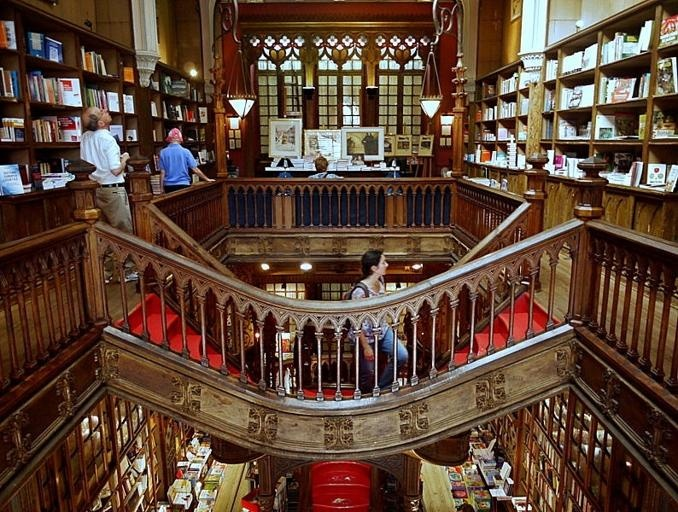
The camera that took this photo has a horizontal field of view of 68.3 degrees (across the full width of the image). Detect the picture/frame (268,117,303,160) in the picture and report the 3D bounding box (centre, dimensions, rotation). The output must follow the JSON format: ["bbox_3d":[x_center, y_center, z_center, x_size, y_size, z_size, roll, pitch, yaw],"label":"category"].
[{"bbox_3d":[-1.092,-2.395,10.046,0.662,1.166,0.642,-2,-54,2],"label":"picture/frame"}]

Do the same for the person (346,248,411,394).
[{"bbox_3d":[0.325,0.664,4.324,0.503,0.439,1.492,7,-69,34],"label":"person"}]

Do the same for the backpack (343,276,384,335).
[{"bbox_3d":[0.255,0.352,4.346,0.330,0.272,0.456,-17,-20,17],"label":"backpack"}]

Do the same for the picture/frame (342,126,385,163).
[{"bbox_3d":[0.411,-1.936,8.724,0.721,0.078,0.700,0,-82,-1],"label":"picture/frame"}]

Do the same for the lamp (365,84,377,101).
[{"bbox_3d":[0.935,-4.686,14.345,0.354,0.244,0.385,0,-56,0],"label":"lamp"}]

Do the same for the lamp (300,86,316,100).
[{"bbox_3d":[-0.886,-4.626,14.198,0.329,0.332,0.337,1,-73,1],"label":"lamp"}]
